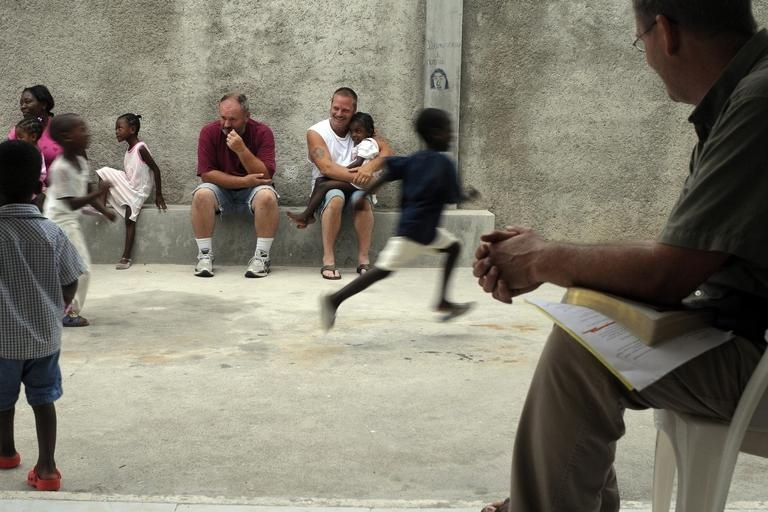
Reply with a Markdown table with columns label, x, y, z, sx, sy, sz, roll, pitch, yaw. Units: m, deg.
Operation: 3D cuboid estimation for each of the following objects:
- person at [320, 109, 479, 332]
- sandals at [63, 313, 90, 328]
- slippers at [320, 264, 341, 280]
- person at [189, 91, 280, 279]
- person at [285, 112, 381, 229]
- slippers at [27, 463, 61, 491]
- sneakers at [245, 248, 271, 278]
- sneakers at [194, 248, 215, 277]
| label | x | y | z | sx | sy | sz | roll | pitch | yaw |
| --- | --- | --- | --- | --- | --- | --- | --- | --- | --- |
| person | 0.153 | -0.287 | 5.296 | 1.138 | 1.475 | 0.547 | -5 | 16 | -24 |
| sandals | -2.053 | 0.429 | 4.955 | 0.172 | 0.062 | 0.060 | 0 | 9 | -15 |
| slippers | -0.485 | 0.146 | 6.678 | 0.137 | 0.087 | 0.311 | 0 | 2 | -6 |
| person | -1.360 | -0.657 | 6.724 | 0.789 | 1.580 | 0.840 | -2 | 15 | -12 |
| person | -0.465 | -0.839 | 6.982 | 0.561 | 1.126 | 0.796 | 16 | 6 | 24 |
| slippers | -1.427 | 0.921 | 3.104 | 0.079 | 0.057 | 0.152 | 2 | 3 | -18 |
| sneakers | -1.136 | 0.059 | 6.706 | 0.194 | 0.220 | 0.354 | 2 | 14 | 2 |
| sneakers | -1.622 | 0.061 | 6.658 | 0.171 | 0.200 | 0.363 | -2 | 14 | -12 |
